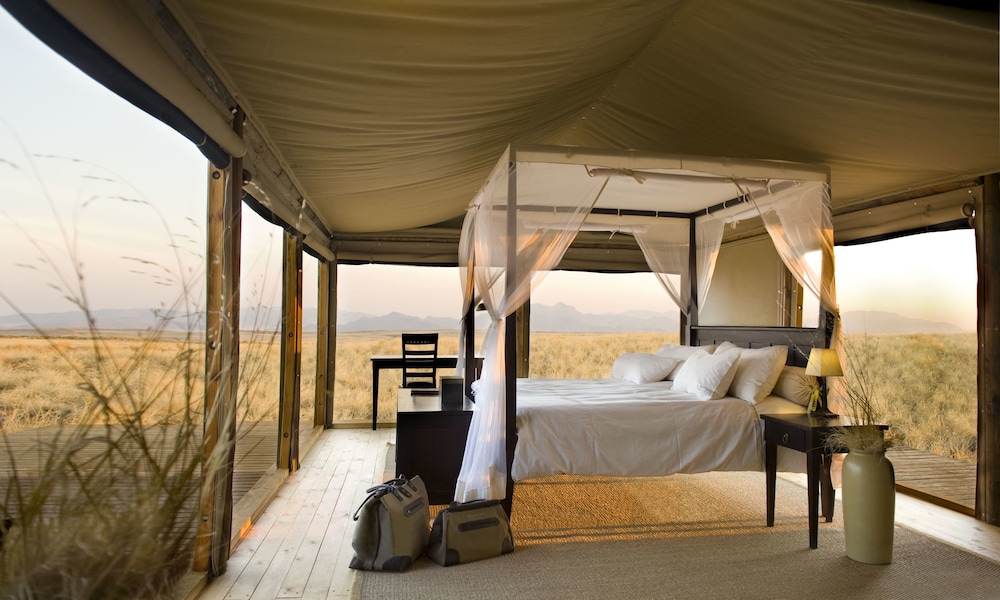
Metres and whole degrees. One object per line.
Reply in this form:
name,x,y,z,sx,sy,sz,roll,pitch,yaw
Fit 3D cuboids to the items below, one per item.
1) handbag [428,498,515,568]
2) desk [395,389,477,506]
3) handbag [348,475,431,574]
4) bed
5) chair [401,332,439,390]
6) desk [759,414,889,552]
handbag,-0.220,1.774,4.711,0.745,0.483,0.389,3,-17,-29
desk,-0.623,1.259,5.922,0.705,0.896,1.378,1,0,-8
handbag,-0.852,1.721,4.892,0.456,0.577,0.830,-1,0,7
bed,1.305,0.258,6.319,3.203,2.462,3.247,2,-4,-10
chair,-1.111,0.824,8.400,0.516,0.897,0.571,5,15,-1
desk,2.683,1.449,5.207,0.778,0.893,0.818,-1,-1,4
